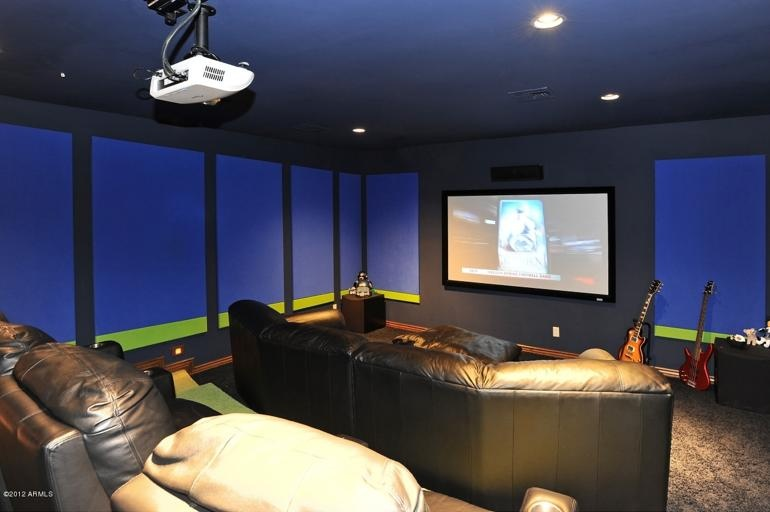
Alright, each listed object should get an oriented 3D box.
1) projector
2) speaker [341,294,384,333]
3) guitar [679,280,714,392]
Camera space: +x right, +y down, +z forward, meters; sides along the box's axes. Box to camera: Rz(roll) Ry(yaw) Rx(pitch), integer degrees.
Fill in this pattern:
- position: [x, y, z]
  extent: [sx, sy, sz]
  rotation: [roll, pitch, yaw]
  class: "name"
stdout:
- position: [-1.191, -1.132, 3.428]
  extent: [0.580, 0.243, 0.378]
  rotation: [3, 3, 39]
  class: "projector"
- position: [-0.315, 0.823, 7.630]
  extent: [0.573, 0.525, 0.541]
  rotation: [1, 7, 10]
  class: "speaker"
- position: [3.408, 0.843, 5.791]
  extent: [0.312, 1.147, 0.372]
  rotation: [2, 4, 30]
  class: "guitar"
